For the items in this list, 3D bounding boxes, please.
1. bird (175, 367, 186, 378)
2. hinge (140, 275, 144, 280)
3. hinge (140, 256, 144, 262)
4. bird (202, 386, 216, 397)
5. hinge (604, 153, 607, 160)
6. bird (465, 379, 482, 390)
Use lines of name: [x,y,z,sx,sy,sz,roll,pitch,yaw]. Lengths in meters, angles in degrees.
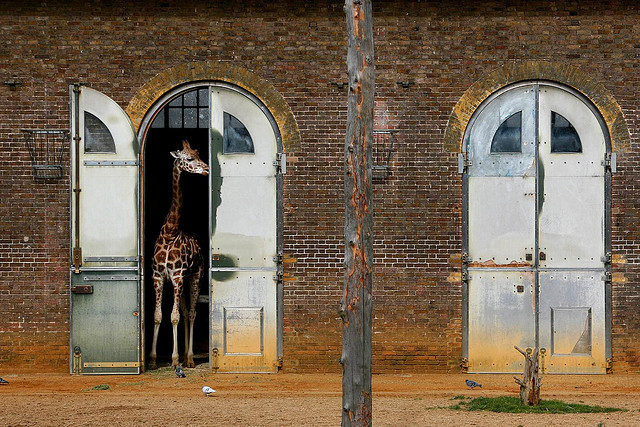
bird: [-2.610,2.947,31.031,0.174,0.168,0.264,-1,-3,-5]
hinge: [-3.361,1.191,31.213,0.068,0.068,0.064,0,0,-8]
hinge: [-3.360,0.851,31.201,0.076,0.080,0.078,3,1,45]
bird: [-2.020,3.173,29.857,0.186,0.184,0.267,-1,-3,4]
hinge: [5.366,-1.069,31.251,0.074,0.125,0.072,1,-1,1]
bird: [2.803,3.076,30.142,0.386,0.148,0.097,12,-9,-21]
